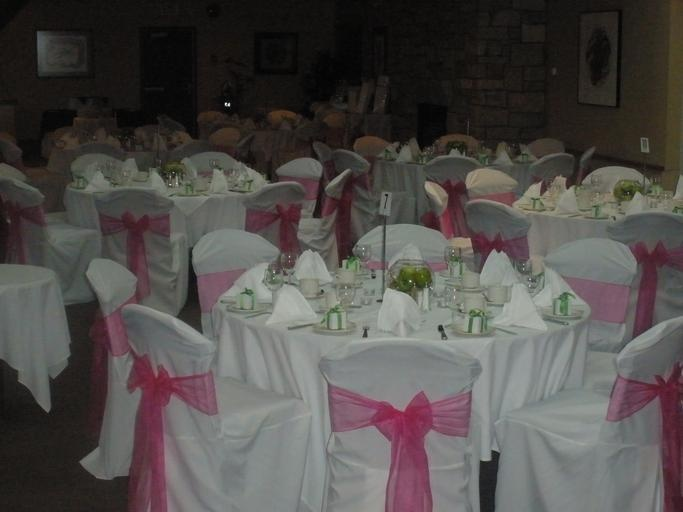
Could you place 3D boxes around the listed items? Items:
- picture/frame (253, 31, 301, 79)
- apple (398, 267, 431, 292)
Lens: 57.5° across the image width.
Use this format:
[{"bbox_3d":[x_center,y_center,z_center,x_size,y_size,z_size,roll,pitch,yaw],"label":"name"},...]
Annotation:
[{"bbox_3d":[-1.127,-3.450,10.528,0.641,0.768,0.060,0,11,-3],"label":"picture/frame"},{"bbox_3d":[0.367,0.107,3.117,0.096,0.102,0.131,0,6,0],"label":"apple"}]
